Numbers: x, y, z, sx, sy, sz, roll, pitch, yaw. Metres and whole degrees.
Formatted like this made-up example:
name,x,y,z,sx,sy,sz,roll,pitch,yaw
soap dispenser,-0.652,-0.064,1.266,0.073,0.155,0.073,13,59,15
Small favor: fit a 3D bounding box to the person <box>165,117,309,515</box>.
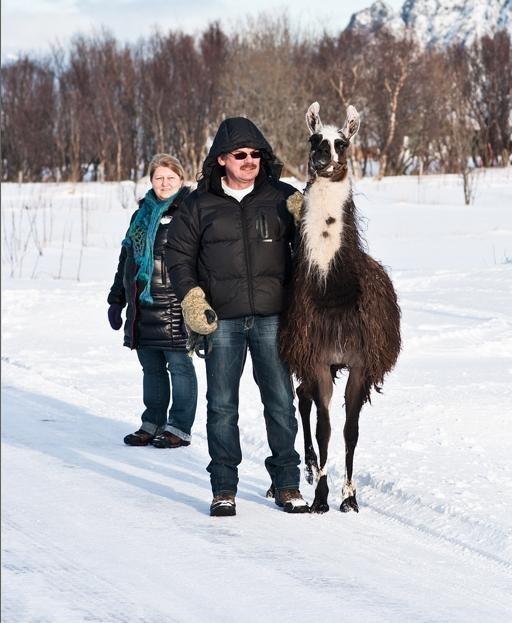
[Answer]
name,x,y,z,sx,sy,sz,roll,pitch,yaw
person,-0.091,0.040,5.053,0.666,2.083,0.718,0,2,-1
